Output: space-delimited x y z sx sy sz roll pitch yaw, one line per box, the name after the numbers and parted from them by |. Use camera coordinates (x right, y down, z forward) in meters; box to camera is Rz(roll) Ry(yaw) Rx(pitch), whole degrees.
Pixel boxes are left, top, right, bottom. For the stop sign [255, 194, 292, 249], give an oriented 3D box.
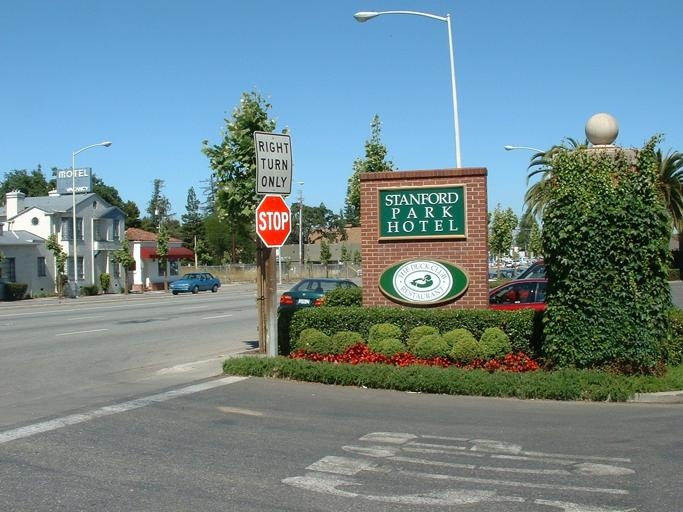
-1.315 -0.672 14.374 0.608 0.730 0.685 -1 0 0 | stop sign

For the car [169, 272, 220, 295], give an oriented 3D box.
-10.670 1.990 54.237 1.490 1.111 3.119 -3 -6 22 | car

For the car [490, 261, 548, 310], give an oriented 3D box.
6.737 1.009 28.310 2.351 1.210 1.480 1 -3 6 | car

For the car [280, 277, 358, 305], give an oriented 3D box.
-0.659 1.004 21.864 0.945 0.714 2.106 0 3 24 | car
